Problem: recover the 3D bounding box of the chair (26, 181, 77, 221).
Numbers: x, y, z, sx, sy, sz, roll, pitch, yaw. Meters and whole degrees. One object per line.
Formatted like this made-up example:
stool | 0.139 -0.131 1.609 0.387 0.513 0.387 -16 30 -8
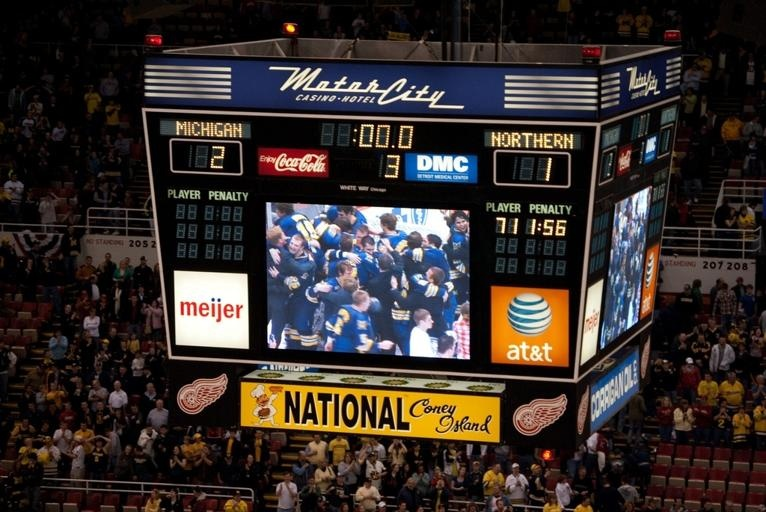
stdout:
chair | -13.757 -2.077 51.972 2.029 1.536 2.667 -2 4 -12
